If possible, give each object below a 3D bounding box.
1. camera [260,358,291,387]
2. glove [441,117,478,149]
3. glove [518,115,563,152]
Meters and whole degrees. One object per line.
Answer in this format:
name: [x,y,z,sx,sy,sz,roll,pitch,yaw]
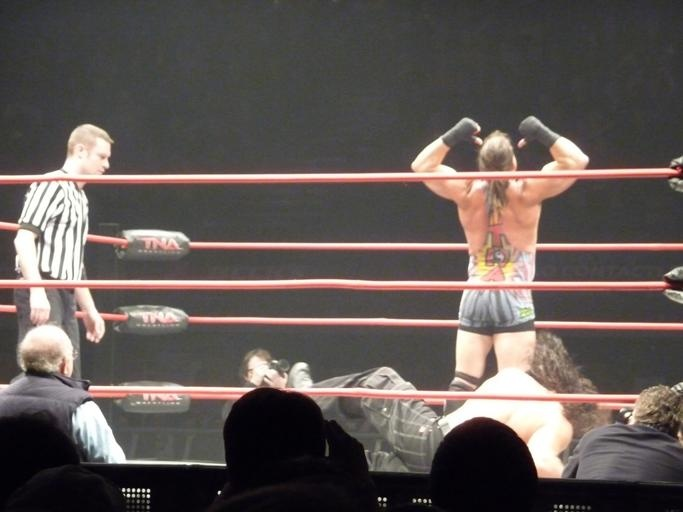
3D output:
camera: [-0.385,0.747,6.237,0.217,0.163,0.073,15,9,43]
glove: [0.743,-0.780,6.044,0.181,0.174,0.203,2,1,-9]
glove: [1.184,-0.773,5.940,0.151,0.185,0.332,3,2,45]
